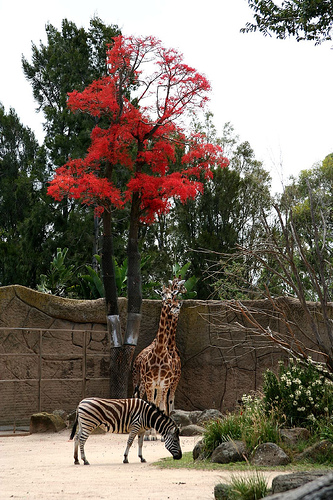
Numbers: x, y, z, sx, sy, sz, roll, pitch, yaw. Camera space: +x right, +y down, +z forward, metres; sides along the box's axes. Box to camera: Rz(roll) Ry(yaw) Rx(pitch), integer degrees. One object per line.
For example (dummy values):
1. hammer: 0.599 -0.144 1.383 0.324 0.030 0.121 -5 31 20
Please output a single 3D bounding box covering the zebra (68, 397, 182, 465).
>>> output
1. zebra: -0.471 2.134 6.886 1.313 0.794 0.373 3 -14 1
